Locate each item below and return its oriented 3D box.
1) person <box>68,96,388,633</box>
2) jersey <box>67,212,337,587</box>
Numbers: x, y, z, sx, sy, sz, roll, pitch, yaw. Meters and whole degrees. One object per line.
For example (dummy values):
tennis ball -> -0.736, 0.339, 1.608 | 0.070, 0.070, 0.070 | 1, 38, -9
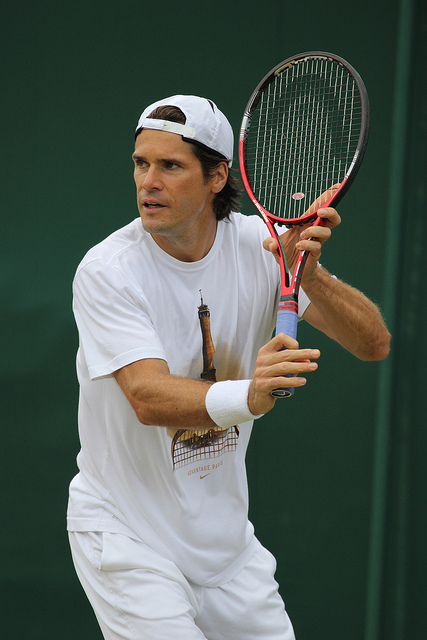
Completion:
person -> -0.043, 0.165, 2.105 | 0.863, 1.251, 0.767 | -7, -2, 21
jersey -> -0.040, 0.223, 2.151 | 0.670, 0.885, 0.505 | -5, -2, -26
